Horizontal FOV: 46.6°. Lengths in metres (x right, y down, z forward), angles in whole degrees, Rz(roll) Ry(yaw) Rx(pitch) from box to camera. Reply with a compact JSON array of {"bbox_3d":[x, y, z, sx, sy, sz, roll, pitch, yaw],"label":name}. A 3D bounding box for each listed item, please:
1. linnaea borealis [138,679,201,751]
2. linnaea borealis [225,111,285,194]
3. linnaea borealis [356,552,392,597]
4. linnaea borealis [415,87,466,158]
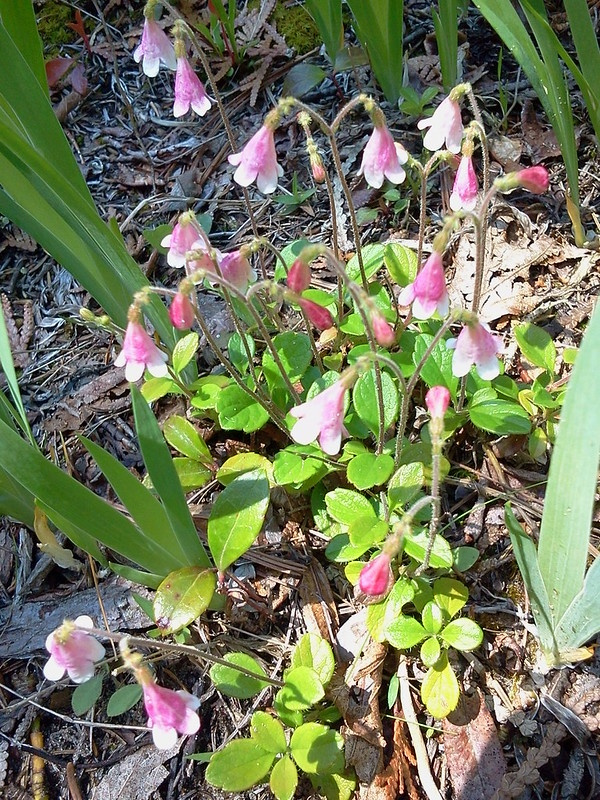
[{"bbox_3d":[-0.362,0.857,1.908,0.177,0.210,0.075,14,98,31],"label":"linnaea borealis"},{"bbox_3d":[-0.124,-0.903,2.385,0.185,0.283,0.206,5,54,-14],"label":"linnaea borealis"},{"bbox_3d":[0.206,0.485,1.956,0.076,0.145,0.106,19,70,30],"label":"linnaea borealis"},{"bbox_3d":[0.545,-1.046,2.536,0.156,0.234,0.195,22,41,16],"label":"linnaea borealis"}]
